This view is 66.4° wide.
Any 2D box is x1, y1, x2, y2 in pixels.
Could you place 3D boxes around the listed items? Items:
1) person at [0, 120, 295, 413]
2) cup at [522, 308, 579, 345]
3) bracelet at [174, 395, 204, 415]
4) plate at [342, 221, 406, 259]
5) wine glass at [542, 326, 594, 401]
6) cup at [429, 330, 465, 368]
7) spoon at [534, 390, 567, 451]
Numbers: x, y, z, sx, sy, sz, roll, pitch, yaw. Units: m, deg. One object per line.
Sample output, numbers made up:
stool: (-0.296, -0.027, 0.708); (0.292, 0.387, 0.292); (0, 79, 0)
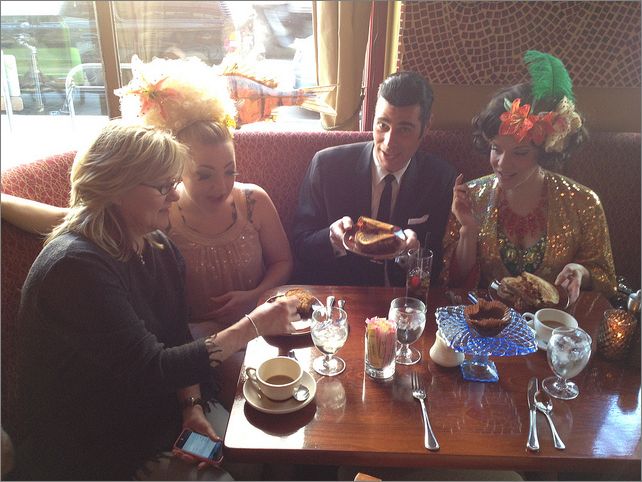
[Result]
person: (-0.633, 0.143, 2.073); (1.048, 1.220, 0.750); (9, 21, 17)
cup: (0.938, 0.345, 2.025); (0.184, 0.087, 0.121); (3, 20, 40)
bracelet: (-0.550, 0.708, 2.113); (0.078, 0.051, 0.075); (-2, -23, -24)
plate: (0.252, 0.008, 2.305); (0.218, 0.069, 0.217); (-11, 33, -11)
wine glass: (0.918, 0.455, 1.842); (0.154, 0.231, 0.150); (-2, 14, -35)
cup: (0.485, 0.434, 1.924); (0.130, 0.108, 0.132); (0, 14, 0)
spoon: (0.819, 0.644, 1.761); (0.051, 0.249, 0.035); (-16, 16, 39)
